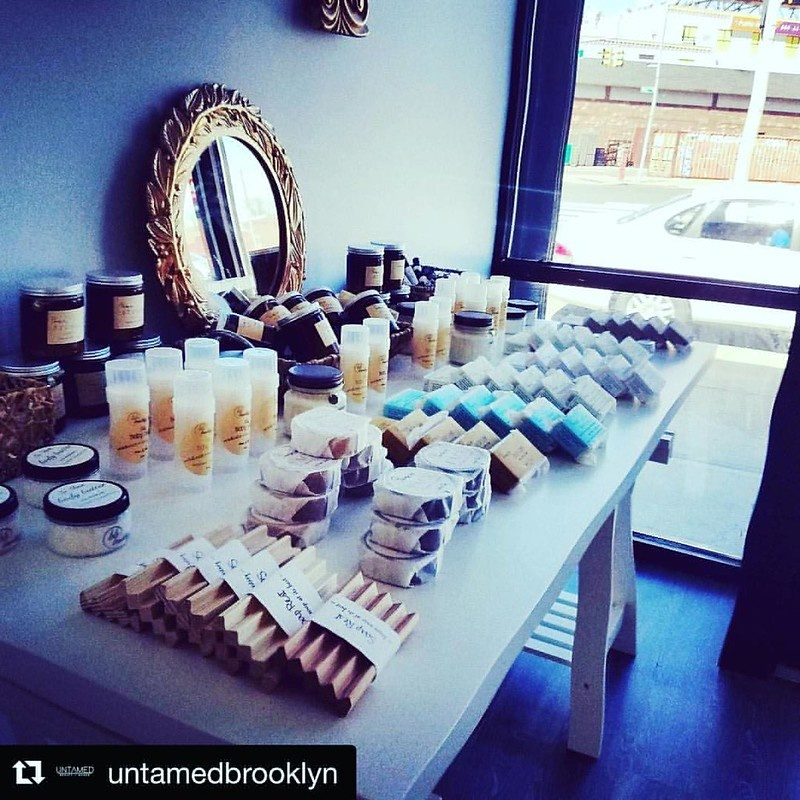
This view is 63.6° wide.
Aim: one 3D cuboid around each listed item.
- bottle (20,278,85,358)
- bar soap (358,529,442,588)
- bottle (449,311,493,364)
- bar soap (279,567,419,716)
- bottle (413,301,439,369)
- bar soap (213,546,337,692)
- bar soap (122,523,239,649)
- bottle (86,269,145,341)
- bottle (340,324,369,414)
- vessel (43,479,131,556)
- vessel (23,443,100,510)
[{"bbox_3d":[-0.479,-0.110,0.881,0.103,0.093,0.105,14,15,30],"label":"bottle"},{"bbox_3d":[0.007,0.165,0.652,0.071,0.029,0.078,-5,0,30],"label":"bar soap"},{"bbox_3d":[0.160,-0.128,1.412,0.092,0.109,0.101,12,18,31],"label":"bottle"},{"bbox_3d":[-0.043,0.189,0.514,0.075,0.033,0.143,30,14,11],"label":"bar soap"},{"bbox_3d":[0.051,-0.134,1.320,0.056,0.139,0.056,3,24,-1],"label":"bottle"},{"bbox_3d":[-0.095,0.162,0.502,0.054,0.031,0.106,34,25,3],"label":"bar soap"},{"bbox_3d":[-0.179,0.152,0.535,0.046,0.034,0.091,-2,23,18],"label":"bar soap"},{"bbox_3d":[-0.400,-0.145,0.959,0.093,0.109,0.095,-1,15,-15],"label":"bottle"},{"bbox_3d":[-0.075,-0.043,1.054,0.043,0.140,0.037,7,17,24],"label":"bottle"},{"bbox_3d":[-0.305,0.112,0.640,0.071,0.050,0.071,-11,27,-36],"label":"vessel"},{"bbox_3d":[-0.372,0.072,0.714,0.067,0.041,0.069,6,14,6],"label":"vessel"}]
